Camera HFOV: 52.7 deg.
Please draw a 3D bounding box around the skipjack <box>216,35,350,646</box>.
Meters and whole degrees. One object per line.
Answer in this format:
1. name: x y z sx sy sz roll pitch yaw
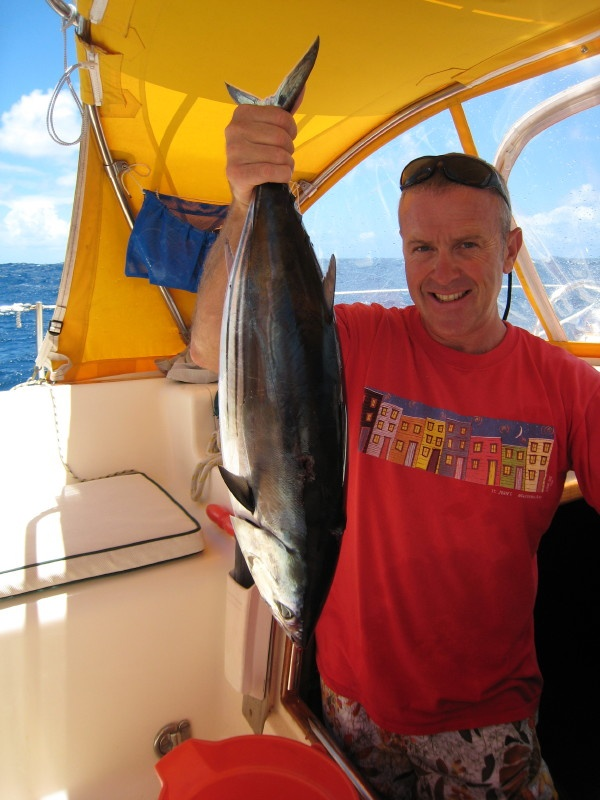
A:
1. skipjack: -0.031 0.009 1.027 0.233 0.940 0.140 -7 0 -10
